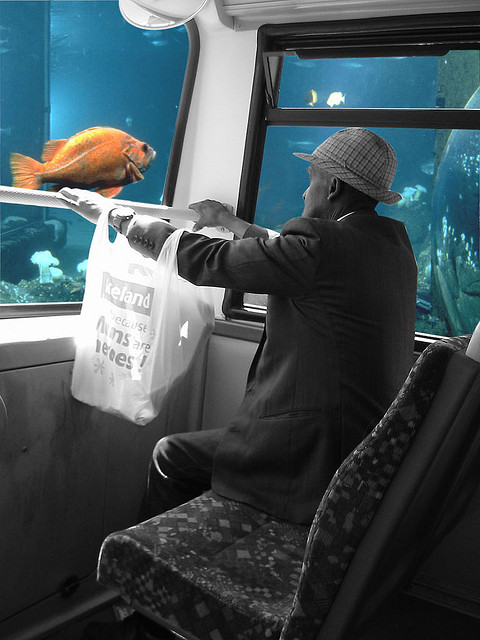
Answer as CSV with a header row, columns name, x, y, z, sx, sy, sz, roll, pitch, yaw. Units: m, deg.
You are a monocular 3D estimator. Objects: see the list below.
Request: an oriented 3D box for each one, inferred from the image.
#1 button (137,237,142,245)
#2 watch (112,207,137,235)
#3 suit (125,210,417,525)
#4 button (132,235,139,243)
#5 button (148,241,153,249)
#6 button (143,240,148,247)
name,x,y,z,sx,sy,sz,roll,pitch,yaw
button,-0.303,-0.235,1.493,0.010,0.016,0.010,2,7,6
watch,-0.379,-0.321,1.624,0.063,0.085,0.085,26,14,35
suit,0.133,0.082,1.339,0.659,0.776,0.326,9,2,12
button,-0.320,-0.245,1.516,0.022,0.021,0.005,15,13,42
button,-0.265,-0.218,1.467,0.011,0.015,0.004,13,8,24
button,-0.283,-0.226,1.479,0.013,0.017,0.005,12,5,28
